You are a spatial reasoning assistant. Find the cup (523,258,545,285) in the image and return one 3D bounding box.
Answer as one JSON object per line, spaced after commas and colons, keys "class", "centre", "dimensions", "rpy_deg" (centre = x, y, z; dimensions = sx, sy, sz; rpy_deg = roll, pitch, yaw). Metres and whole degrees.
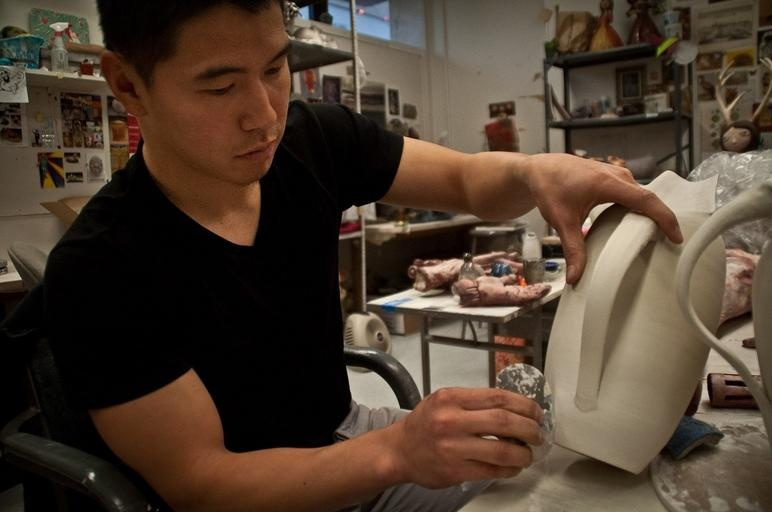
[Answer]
{"class": "cup", "centre": [0.747, 0.079, 2.941], "dimensions": [0.107, 0.137, 0.114], "rpy_deg": [0, -6, 0]}
